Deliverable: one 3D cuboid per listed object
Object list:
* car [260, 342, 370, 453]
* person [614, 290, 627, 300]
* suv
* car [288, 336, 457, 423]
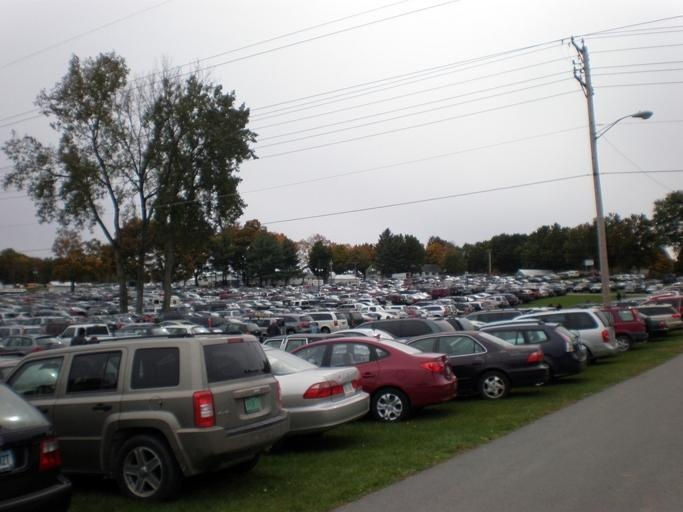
[{"bbox_3d":[-0.723,2.493,9.630,2.360,0.817,1.124,0,-2,28],"label":"car"},{"bbox_3d":[33.174,4.606,62.906,1.415,0.674,1.960,0,3,17],"label":"person"},{"bbox_3d":[-3.052,2.183,8.374,4.046,1.800,2.071,1,-3,20],"label":"suv"},{"bbox_3d":[0.673,2.569,11.627,3.323,1.264,1.578,1,-4,18],"label":"car"}]
